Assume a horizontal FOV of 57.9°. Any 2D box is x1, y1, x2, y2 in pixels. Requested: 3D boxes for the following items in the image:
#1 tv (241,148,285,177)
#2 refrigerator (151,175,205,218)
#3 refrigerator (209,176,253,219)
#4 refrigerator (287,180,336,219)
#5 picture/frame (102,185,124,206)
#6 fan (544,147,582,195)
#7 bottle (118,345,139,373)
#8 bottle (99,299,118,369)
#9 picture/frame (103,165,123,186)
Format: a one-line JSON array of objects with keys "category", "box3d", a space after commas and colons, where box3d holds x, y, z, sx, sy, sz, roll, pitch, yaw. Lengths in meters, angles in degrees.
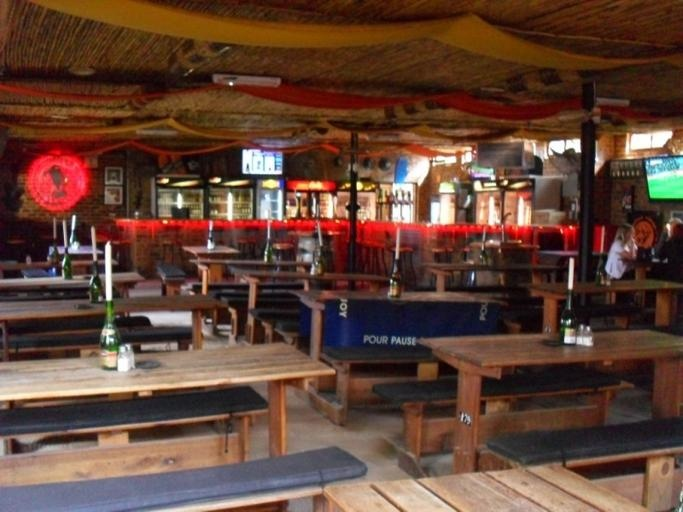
[{"category": "tv", "box3d": [-1.793, -2.125, 14.153, 1.147, 0.689, 0.595, 1, 6, -18]}, {"category": "refrigerator", "box3d": [-3.568, -1.336, 13.563, 0.977, 0.892, 0.504, 1, 14, -7]}, {"category": "refrigerator", "box3d": [-2.425, -1.135, 14.100, 1.224, 1.064, 0.426, 2, 5, 23]}, {"category": "refrigerator", "box3d": [-0.461, -1.404, 15.008, 1.566, 1.011, 0.883, 5, 13, 29]}, {"category": "picture/frame", "box3d": [-5.176, -1.398, 13.967, 0.432, 0.424, 0.032, -9, 4, -9]}, {"category": "fan", "box3d": [4.346, -1.625, 11.942, 0.437, 0.676, 3.838, -6, -6, 21]}, {"category": "bottle", "box3d": [-1.189, 0.561, 3.426, 0.091, 0.146, 0.205, -3, -5, -15]}, {"category": "bottle", "box3d": [-1.272, 0.433, 3.392, 0.103, 0.378, 0.285, -3, -5, -21]}, {"category": "picture/frame", "box3d": [-5.165, -1.845, 13.942, 0.493, 0.505, 0.039, 3, 10, -4]}]
